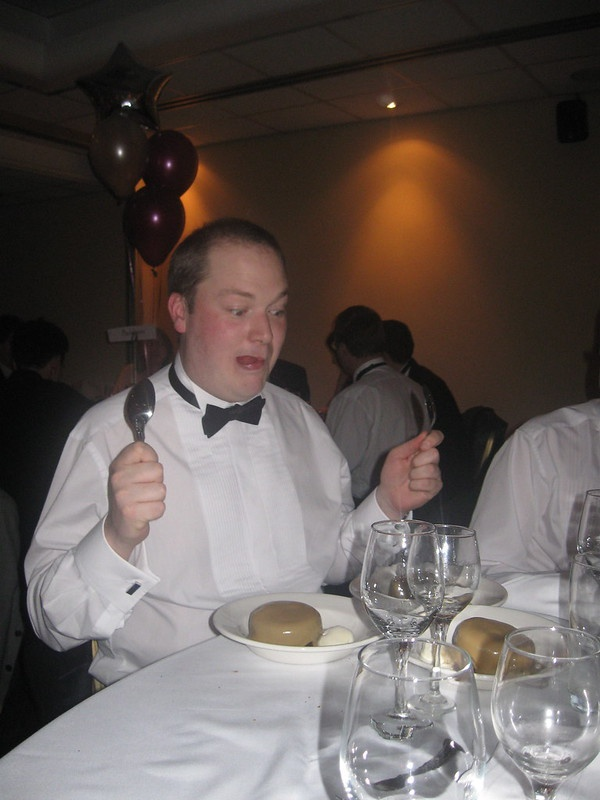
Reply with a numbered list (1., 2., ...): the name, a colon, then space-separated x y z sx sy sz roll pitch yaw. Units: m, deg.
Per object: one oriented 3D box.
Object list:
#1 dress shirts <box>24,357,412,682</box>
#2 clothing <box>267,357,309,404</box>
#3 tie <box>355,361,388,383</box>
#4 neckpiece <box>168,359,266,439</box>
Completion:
1. dress shirts: -0.207 0.262 1.603 0.985 0.624 0.558 -3 -8 -43
2. clothing: -0.068 -0.141 4.859 0.086 0.277 0.331 -11 -17 39
3. tie: 0.382 -0.161 3.768 0.136 0.038 0.124 -40 12 -38
4. neckpiece: -0.205 0.000 1.728 0.179 0.073 0.187 -2 30 -40
